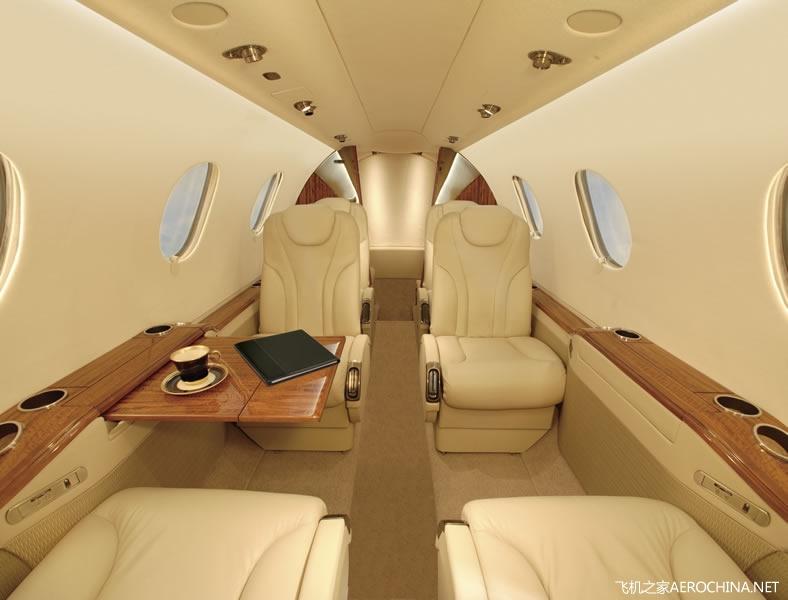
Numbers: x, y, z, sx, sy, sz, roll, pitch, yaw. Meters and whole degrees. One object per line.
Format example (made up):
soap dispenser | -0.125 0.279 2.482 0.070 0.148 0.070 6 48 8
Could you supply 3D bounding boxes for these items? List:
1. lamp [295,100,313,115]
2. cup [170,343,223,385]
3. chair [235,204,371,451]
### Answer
lamp | -0.629 -1.381 3.563 0.076 0.063 0.089 -6 -10 36
cup | -0.874 0.287 2.148 0.168 0.132 0.162 -4 12 1
chair | -0.552 0.102 2.920 0.724 1.202 1.039 -1 16 -9
